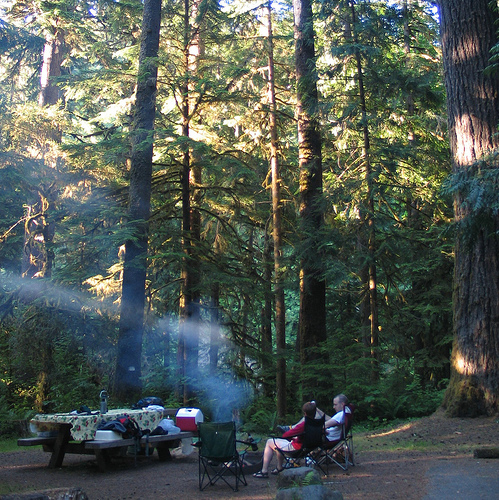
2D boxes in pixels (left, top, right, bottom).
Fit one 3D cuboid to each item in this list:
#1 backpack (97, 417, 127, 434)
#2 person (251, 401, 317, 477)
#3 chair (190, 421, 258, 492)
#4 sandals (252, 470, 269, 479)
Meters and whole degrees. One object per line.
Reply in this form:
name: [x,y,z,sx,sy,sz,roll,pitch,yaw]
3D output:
backpack: [-2.497,3.227,15.004,0.322,0.105,0.318,8,4,1]
person: [0.776,3.365,14.464,1.178,1.298,0.624,-8,-16,28]
chair: [-0.484,3.609,14.358,0.983,1.176,0.831,-4,-8,23]
sandals: [0.224,3.958,14.432,0.297,0.130,0.112,-3,-25,20]
